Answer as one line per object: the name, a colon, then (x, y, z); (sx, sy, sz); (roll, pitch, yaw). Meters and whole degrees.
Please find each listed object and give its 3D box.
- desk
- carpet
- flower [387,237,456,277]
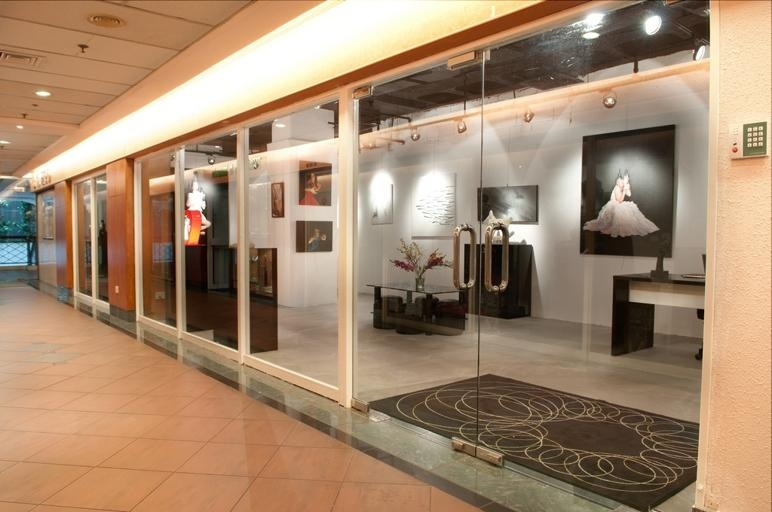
desk: (2.131, 0.422, 3.790); (0.606, 0.662, 0.793); (2, -2, -38)
carpet: (1.481, 1.520, 4.042); (0.963, 0.007, 1.447); (-6, 7, -38)
flower: (0.306, 0.032, 4.563); (0.415, 0.243, 0.409); (7, -3, -41)
